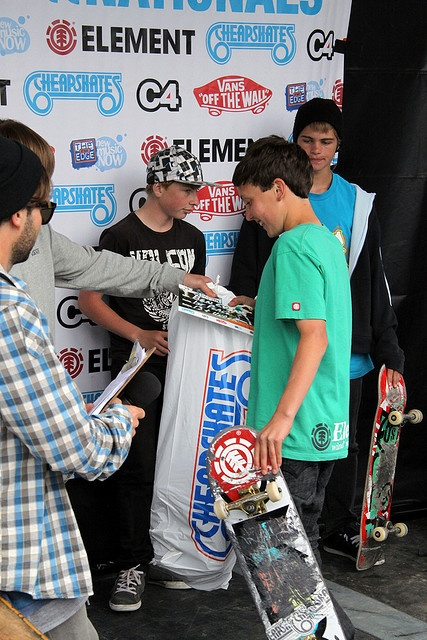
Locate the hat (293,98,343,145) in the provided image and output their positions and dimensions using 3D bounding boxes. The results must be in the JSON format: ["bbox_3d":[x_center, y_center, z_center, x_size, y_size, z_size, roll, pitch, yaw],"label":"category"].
[{"bbox_3d":[0.520,-1.013,2.601,0.195,0.208,0.218,6,4,-3],"label":"hat"}]

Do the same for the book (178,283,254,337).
[{"bbox_3d":[-0.001,-0.030,1.945,0.219,0.144,0.011,15,-36,-26],"label":"book"}]

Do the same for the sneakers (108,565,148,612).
[{"bbox_3d":[-0.396,1.252,2.333,0.074,0.087,0.221,2,-6,3],"label":"sneakers"}]

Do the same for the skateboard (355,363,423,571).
[{"bbox_3d":[0.846,0.791,2.560,0.176,1.190,0.286,4,-2,41],"label":"skateboard"}]

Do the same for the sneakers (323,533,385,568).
[{"bbox_3d":[0.787,1.258,2.886,0.372,0.160,0.130,5,9,41],"label":"sneakers"}]

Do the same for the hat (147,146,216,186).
[{"bbox_3d":[-0.137,-0.755,2.465,0.386,0.218,0.252,4,12,17],"label":"hat"}]
